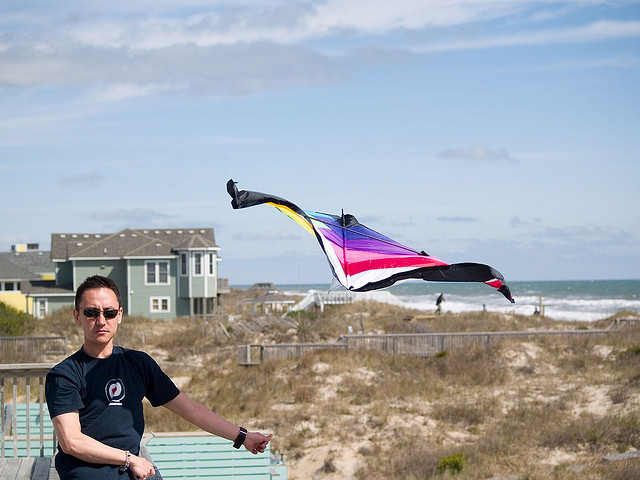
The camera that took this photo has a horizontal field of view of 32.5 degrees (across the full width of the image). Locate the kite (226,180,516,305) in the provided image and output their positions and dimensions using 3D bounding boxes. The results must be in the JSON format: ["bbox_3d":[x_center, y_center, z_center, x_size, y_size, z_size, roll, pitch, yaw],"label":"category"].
[{"bbox_3d":[1.642,0.757,37.103,5.870,5.935,2.282,-30,21,44],"label":"kite"}]
